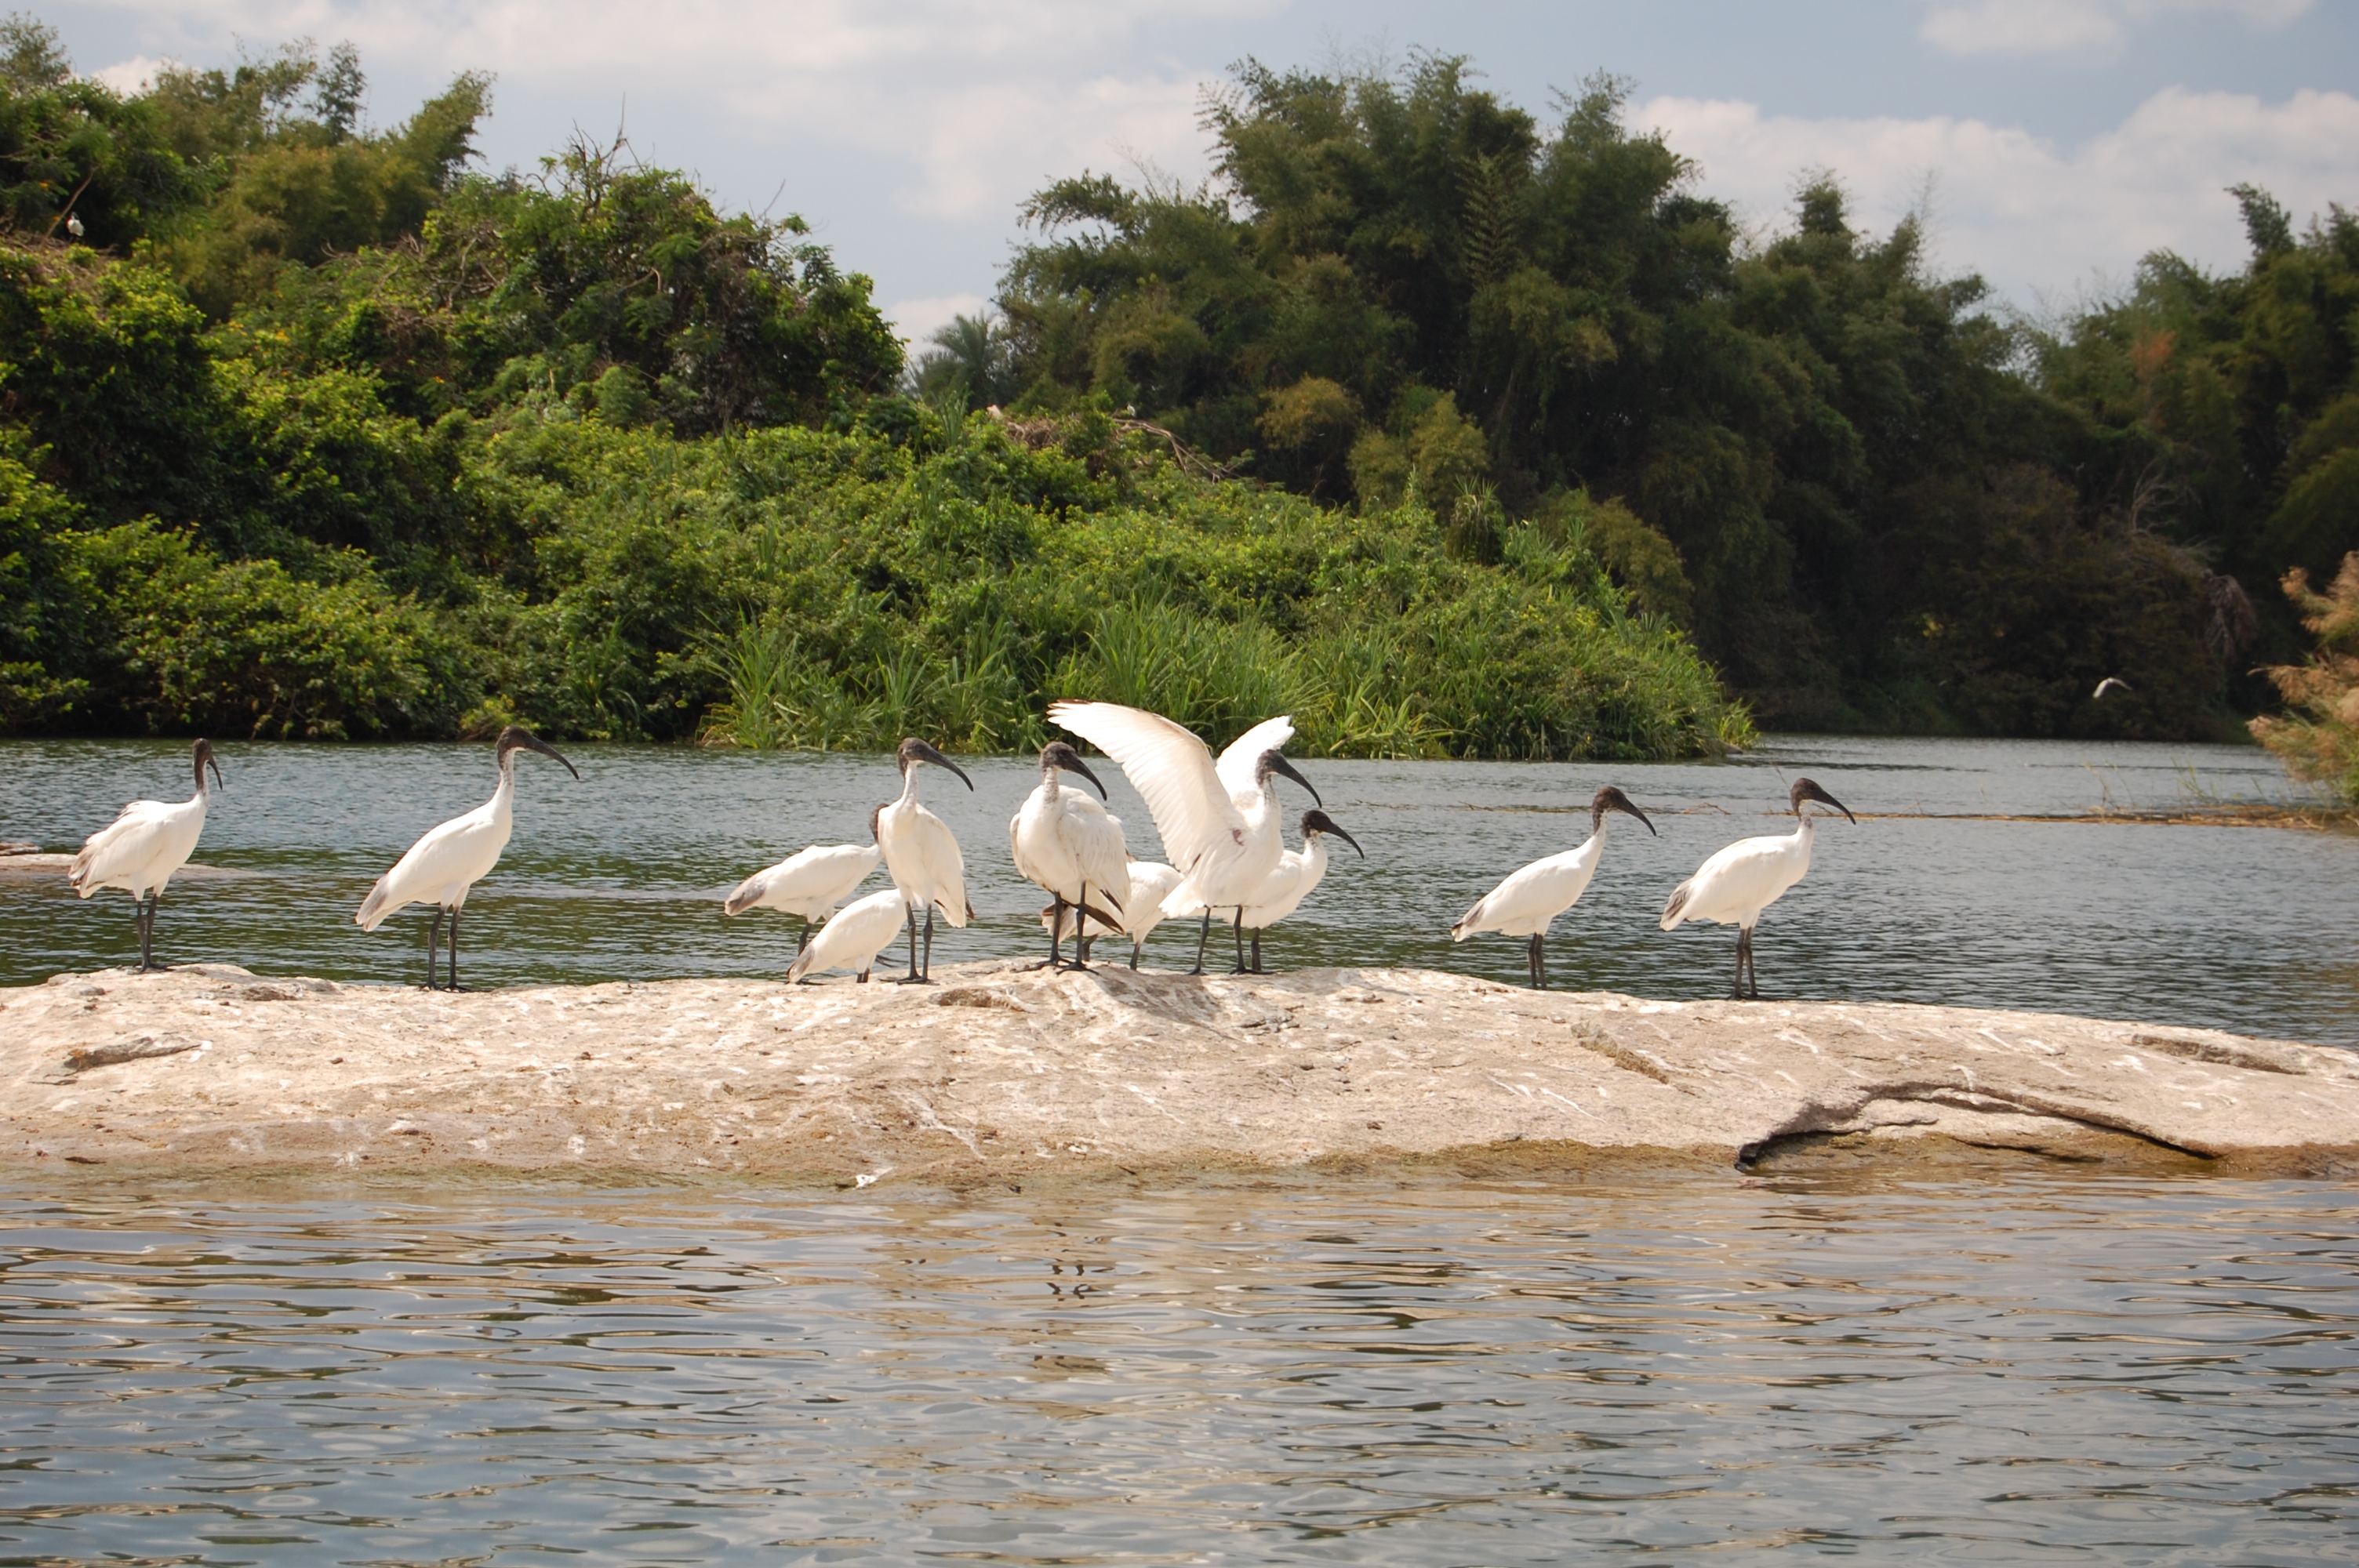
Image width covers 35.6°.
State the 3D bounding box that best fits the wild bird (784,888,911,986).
[{"bbox_3d":[-3.775,1.717,41.929,1.271,1.129,0.751,2,7,-28],"label":"wild bird"}]

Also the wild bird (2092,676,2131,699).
[{"bbox_3d":[24.850,-2.602,98.134,0.376,1.019,1.166,0,2,-28],"label":"wild bird"}]
